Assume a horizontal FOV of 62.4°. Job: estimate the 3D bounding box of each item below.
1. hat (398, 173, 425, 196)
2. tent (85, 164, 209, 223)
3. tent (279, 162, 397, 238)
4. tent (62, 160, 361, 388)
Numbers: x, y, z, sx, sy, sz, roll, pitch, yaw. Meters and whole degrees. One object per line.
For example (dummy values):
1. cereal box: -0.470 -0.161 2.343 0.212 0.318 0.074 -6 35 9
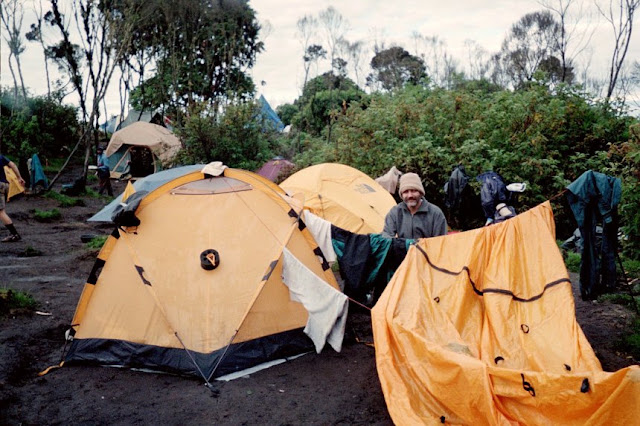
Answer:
1. hat: 1.586 -0.483 9.181 0.376 0.386 0.414 -9 -3 23
2. tent: -4.641 -0.606 13.461 2.379 0.655 2.427 -16 11 2
3. tent: 0.458 -0.385 12.291 2.053 0.887 1.830 27 19 11
4. tent: -2.500 1.074 9.527 3.547 2.161 3.941 -7 13 -33
